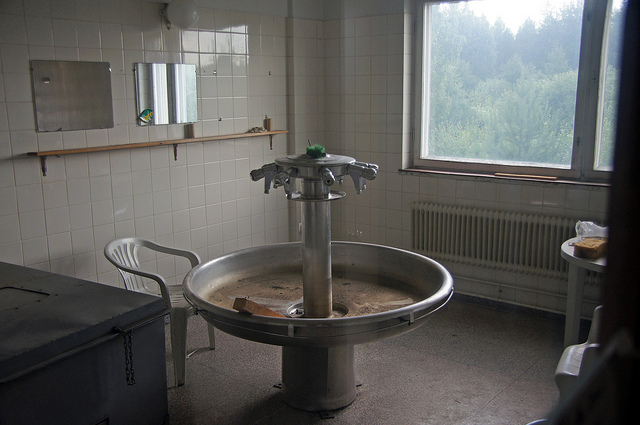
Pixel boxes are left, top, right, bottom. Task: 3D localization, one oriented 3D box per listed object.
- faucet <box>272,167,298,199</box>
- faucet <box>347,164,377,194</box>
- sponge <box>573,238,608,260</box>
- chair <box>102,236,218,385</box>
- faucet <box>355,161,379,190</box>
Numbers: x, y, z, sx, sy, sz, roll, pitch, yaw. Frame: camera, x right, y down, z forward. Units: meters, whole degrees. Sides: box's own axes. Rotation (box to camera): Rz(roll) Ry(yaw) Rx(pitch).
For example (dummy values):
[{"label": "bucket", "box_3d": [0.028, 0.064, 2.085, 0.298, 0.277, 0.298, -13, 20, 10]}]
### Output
[{"label": "faucet", "box_3d": [-0.144, -0.117, 1.976, 0.097, 0.144, 0.161, 1, 13, 7]}, {"label": "faucet", "box_3d": [0.175, -0.147, 2.027, 0.131, 0.129, 0.114, 5, 20, 16]}, {"label": "sponge", "box_3d": [1.445, 0.191, 2.538, 0.136, 0.089, 0.204, 8, 15, 36]}, {"label": "chair", "box_3d": [-1.019, 0.593, 2.971, 0.596, 0.780, 0.514, 4, 12, 8]}, {"label": "faucet", "box_3d": [0.198, -0.161, 2.066, 0.125, 0.124, 0.113, 1, 9, 12]}]
